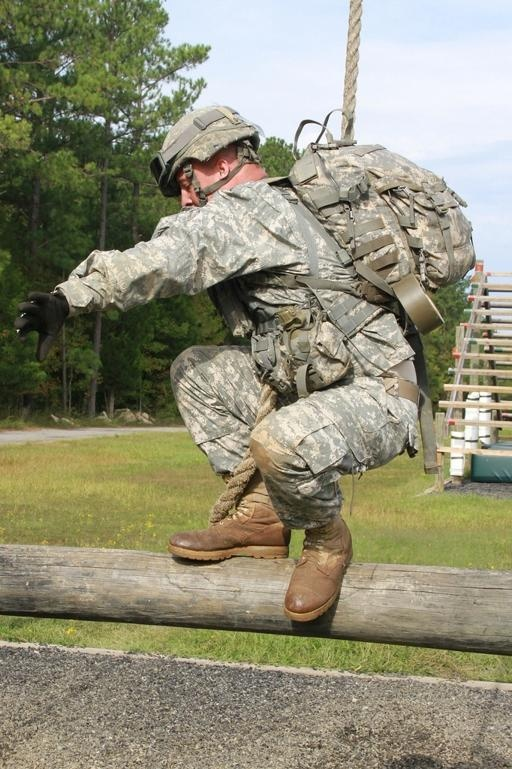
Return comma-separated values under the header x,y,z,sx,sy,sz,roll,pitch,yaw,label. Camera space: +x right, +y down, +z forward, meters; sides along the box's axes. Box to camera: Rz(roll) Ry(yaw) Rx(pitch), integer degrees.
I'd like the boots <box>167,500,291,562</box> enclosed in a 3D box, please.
x,y,z,sx,sy,sz,roll,pitch,yaw,label
-0.091,0.596,3.647,0.543,0.234,0.173,-5,-4,19,boots

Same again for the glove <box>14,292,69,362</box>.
x,y,z,sx,sy,sz,roll,pitch,yaw,label
-0.723,-0.203,2.902,0.175,0.237,0.219,2,2,6,glove

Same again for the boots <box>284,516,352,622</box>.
x,y,z,sx,sy,sz,roll,pitch,yaw,label
0.217,0.674,3.123,0.165,0.181,0.477,-1,8,18,boots
